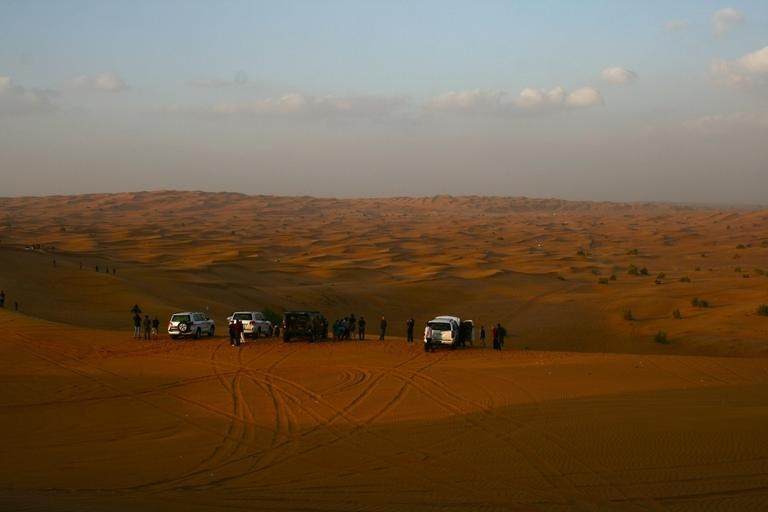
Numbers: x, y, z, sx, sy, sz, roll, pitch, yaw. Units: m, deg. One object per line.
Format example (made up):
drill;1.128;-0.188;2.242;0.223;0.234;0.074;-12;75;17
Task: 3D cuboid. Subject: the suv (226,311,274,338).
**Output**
suv;-8.216;4.226;38.595;1.646;0.876;2.965;1;3;20

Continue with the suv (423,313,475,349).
suv;3.683;4.244;33.988;2.358;0.844;2.654;2;8;18

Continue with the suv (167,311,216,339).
suv;-11.442;4.116;37.038;1.618;0.801;2.774;1;4;20

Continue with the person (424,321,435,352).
person;2.412;4.385;33.053;0.486;1.341;0.856;-2;8;3

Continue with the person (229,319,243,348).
person;-8.104;4.254;33.889;0.654;1.269;1.487;-4;7;-13

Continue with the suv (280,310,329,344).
suv;-4.473;4.025;36.790;1.829;0.867;2.712;0;3;12
